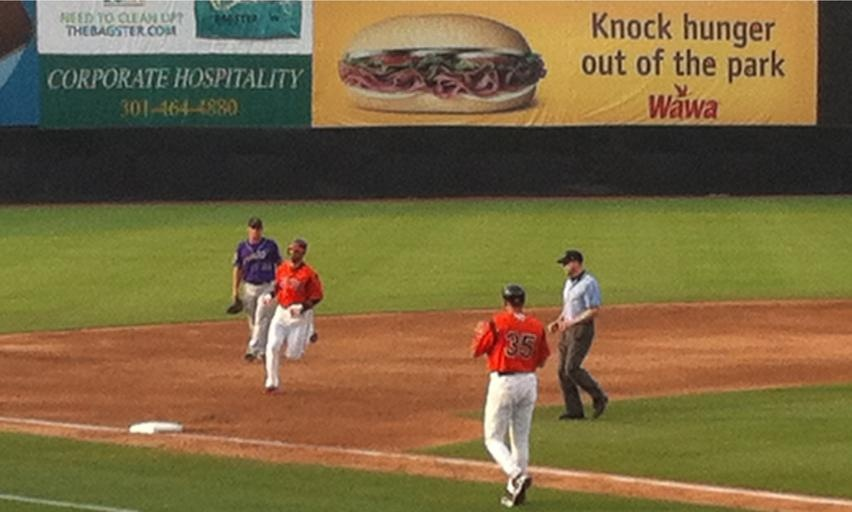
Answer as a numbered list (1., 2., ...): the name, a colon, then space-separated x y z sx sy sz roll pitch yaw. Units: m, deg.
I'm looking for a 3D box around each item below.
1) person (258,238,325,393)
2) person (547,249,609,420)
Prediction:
1. person: -3.358 1.564 44.407 1.320 3.876 0.436 0 5 -5
2. person: 3.763 2.039 43.558 1.199 4.262 0.783 1 5 3
